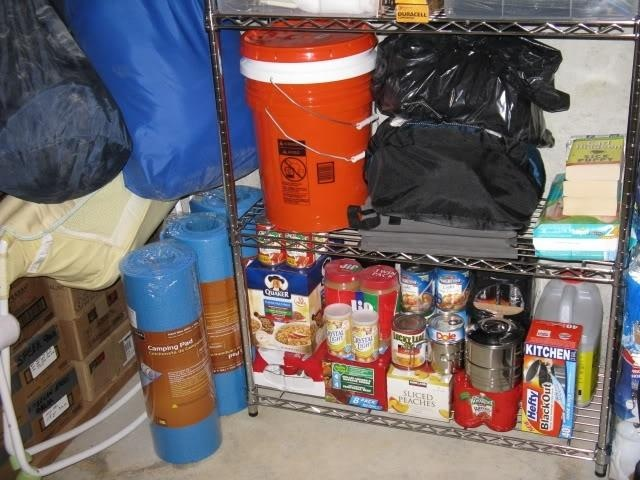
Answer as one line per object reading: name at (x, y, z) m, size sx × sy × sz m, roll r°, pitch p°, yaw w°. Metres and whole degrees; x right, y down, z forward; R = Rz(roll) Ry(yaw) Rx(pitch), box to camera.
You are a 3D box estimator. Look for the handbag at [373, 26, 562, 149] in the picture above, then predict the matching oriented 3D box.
handbag at (0.442, -0.472, 1.751) m, size 0.507 × 0.178 × 0.348 m, roll -2°, pitch 60°, yaw -9°
